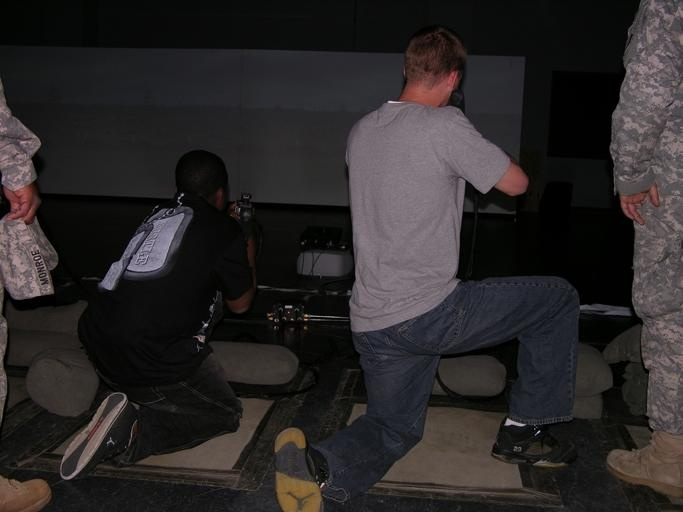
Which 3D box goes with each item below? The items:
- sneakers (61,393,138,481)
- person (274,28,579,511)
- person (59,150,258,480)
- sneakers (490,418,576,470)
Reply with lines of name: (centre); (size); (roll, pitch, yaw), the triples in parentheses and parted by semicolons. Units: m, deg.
sneakers: (-0.951, 0.717, 2.435); (0.401, 0.131, 0.235); (-44, 22, -12)
person: (0.324, 0.045, 2.415); (1.242, 1.840, 0.539); (-2, 14, -19)
person: (-0.774, 0.293, 2.583); (0.798, 1.095, 0.403); (-3, 14, -25)
sneakers: (0.839, 0.782, 2.636); (0.434, 0.238, 0.149); (0, 8, -7)
